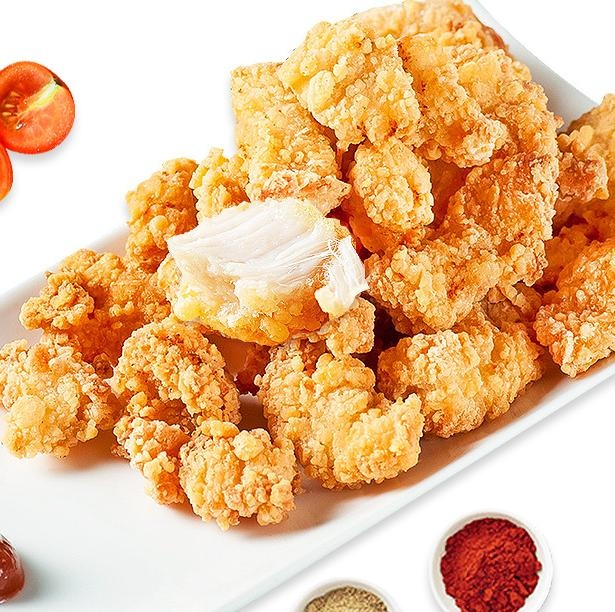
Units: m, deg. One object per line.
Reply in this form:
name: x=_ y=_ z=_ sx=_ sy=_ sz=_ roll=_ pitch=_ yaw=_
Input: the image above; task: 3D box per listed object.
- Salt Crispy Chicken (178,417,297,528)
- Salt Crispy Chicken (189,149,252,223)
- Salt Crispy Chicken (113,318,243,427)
Salt Crispy Chicken: x=-0.176 y=0.419 z=1.850 sx=0.291 sy=0.114 sz=0.270 roll=4 pitch=80 yaw=2
Salt Crispy Chicken: x=-0.223 y=-0.326 z=1.982 sx=0.152 sy=0.196 sz=0.152 roll=-19 pitch=22 yaw=-41
Salt Crispy Chicken: x=-0.346 y=0.174 z=1.909 sx=0.322 sy=0.108 sz=0.266 roll=37 pitch=88 yaw=2
